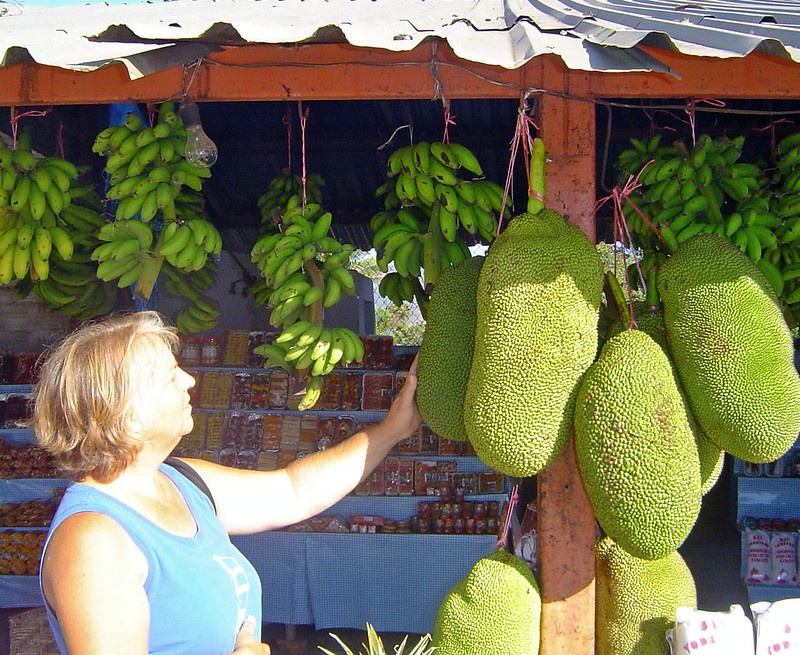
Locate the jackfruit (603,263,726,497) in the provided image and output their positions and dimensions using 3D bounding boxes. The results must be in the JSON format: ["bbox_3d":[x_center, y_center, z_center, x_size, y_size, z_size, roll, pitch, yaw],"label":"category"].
[{"bbox_3d":[0.812,0.116,2.522,0.368,0.737,0.244,1,-27,-34],"label":"jackfruit"}]

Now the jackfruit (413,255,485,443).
[{"bbox_3d":[0.145,0.071,2.620,0.189,0.553,0.236,12,-4,-39],"label":"jackfruit"}]

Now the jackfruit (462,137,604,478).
[{"bbox_3d":[0.399,0.040,2.463,0.400,0.808,0.256,-1,2,-26],"label":"jackfruit"}]

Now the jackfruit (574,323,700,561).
[{"bbox_3d":[0.660,0.318,2.432,0.307,0.653,0.319,-8,-7,-14],"label":"jackfruit"}]
